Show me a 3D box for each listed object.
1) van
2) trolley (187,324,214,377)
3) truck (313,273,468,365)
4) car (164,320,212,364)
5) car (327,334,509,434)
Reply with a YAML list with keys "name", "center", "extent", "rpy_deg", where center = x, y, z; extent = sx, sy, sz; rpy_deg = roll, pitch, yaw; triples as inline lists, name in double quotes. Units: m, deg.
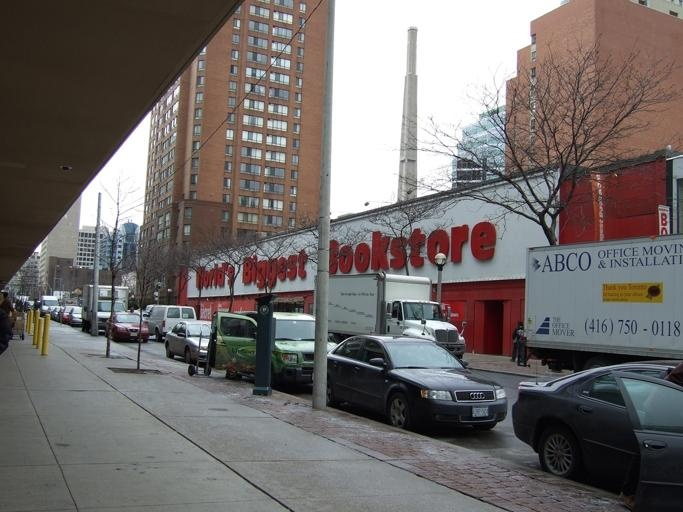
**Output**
- name: "van"
  center: [-2.290, 2.746, 17.396]
  extent: [2.010, 2.015, 3.356]
  rpy_deg: [6, -14, -34]
- name: "trolley"
  center: [-5.540, 3.393, 22.311]
  extent: [0.957, 1.641, 2.704]
  rpy_deg: [-1, -5, -16]
- name: "truck"
  center: [2.458, 2.722, 27.410]
  extent: [3.214, 4.138, 6.906]
  rpy_deg: [3, -8, -33]
- name: "car"
  center: [-5.858, 3.371, 22.990]
  extent: [1.292, 1.057, 2.889]
  rpy_deg: [4, -9, -26]
- name: "car"
  center: [1.506, 2.725, 12.770]
  extent: [1.889, 1.913, 3.945]
  rpy_deg: [1, -6, -36]
